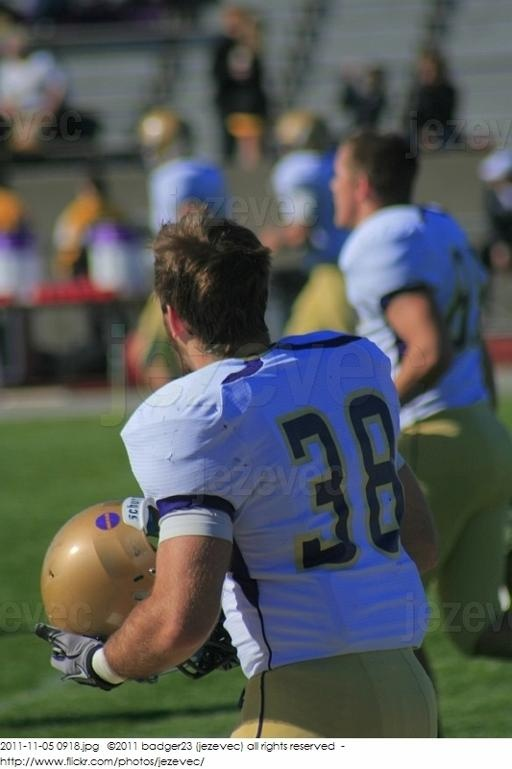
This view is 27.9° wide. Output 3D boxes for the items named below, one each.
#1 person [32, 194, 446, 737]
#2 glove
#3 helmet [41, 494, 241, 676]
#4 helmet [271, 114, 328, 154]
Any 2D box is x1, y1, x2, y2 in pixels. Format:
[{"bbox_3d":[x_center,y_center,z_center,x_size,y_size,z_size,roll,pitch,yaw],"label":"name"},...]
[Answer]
[{"bbox_3d":[-0.009,0.173,1.914,0.722,0.993,0.434,-1,11,3],"label":"person"},{"bbox_3d":[-0.339,0.509,1.932,0.171,0.093,0.067,13,-1,28],"label":"glove"},{"bbox_3d":[-0.229,0.398,2.100,0.406,0.336,0.299,-25,0,-6],"label":"helmet"},{"bbox_3d":[0.188,-1.010,4.124,0.222,0.171,0.414,-1,10,1],"label":"helmet"}]
